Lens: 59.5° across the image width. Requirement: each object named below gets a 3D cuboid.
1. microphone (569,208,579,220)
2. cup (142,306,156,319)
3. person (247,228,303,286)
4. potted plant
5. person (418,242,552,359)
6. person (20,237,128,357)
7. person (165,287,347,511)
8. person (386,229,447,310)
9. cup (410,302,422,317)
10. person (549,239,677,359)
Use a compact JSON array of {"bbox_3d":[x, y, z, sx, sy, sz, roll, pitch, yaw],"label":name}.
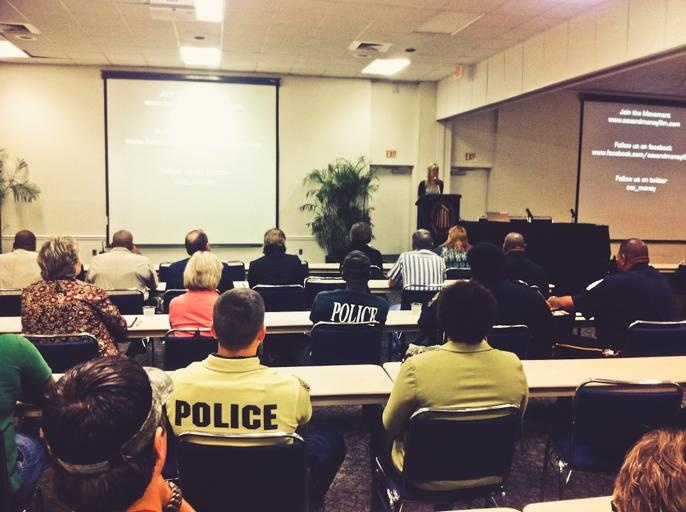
[{"bbox_3d":[3.937,-0.686,10.258,0.130,0.266,1.796,2,7,21],"label":"microphone"},{"bbox_3d":[-1.518,0.441,4.691,0.077,0.083,0.085,1,-2,0],"label":"cup"},{"bbox_3d":[-0.663,0.130,5.857,0.520,0.836,0.460,0,11,-4],"label":"person"},{"bbox_3d":[-0.029,-0.744,10.410,1.441,2.081,1.707,0,0,-26],"label":"potted plant"},{"bbox_3d":[0.997,0.327,4.238,0.725,1.043,0.559,-2,27,-2],"label":"person"},{"bbox_3d":[-1.871,0.268,4.197,0.564,0.852,0.609,2,8,-17],"label":"person"},{"bbox_3d":[-0.473,0.790,3.245,1.050,1.376,0.768,5,16,6],"label":"person"},{"bbox_3d":[0.712,0.236,5.886,0.523,0.971,0.502,1,12,-8],"label":"person"},{"bbox_3d":[0.612,0.456,4.967,0.082,0.068,0.088,0,0,0],"label":"cup"},{"bbox_3d":[2.352,0.380,5.378,0.886,1.326,0.742,-2,19,-6],"label":"person"}]
